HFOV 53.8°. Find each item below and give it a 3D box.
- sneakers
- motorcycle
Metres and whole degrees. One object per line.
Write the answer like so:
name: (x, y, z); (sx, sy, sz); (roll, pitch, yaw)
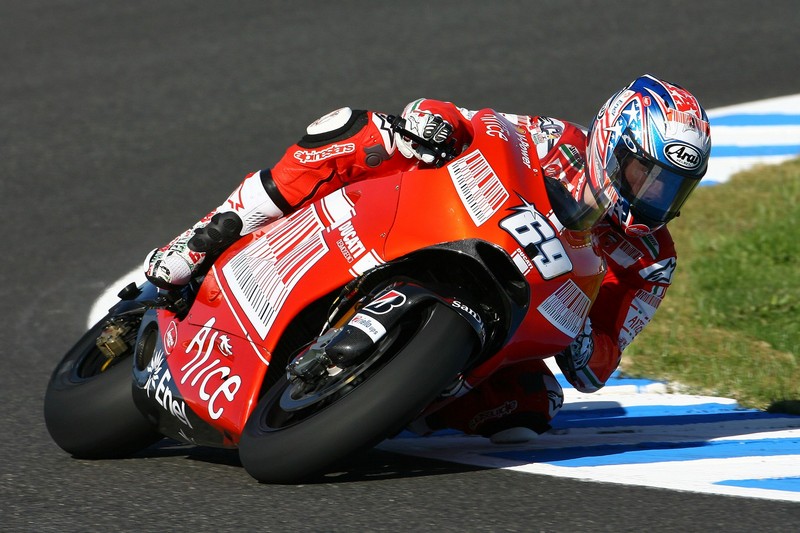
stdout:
sneakers: (-1.041, -0.019, 3.746); (0.236, 0.141, 0.382); (37, 60, 17)
motorcycle: (-0.338, 0.280, 3.421); (2.462, 0.947, 1.251); (-18, 56, 0)
